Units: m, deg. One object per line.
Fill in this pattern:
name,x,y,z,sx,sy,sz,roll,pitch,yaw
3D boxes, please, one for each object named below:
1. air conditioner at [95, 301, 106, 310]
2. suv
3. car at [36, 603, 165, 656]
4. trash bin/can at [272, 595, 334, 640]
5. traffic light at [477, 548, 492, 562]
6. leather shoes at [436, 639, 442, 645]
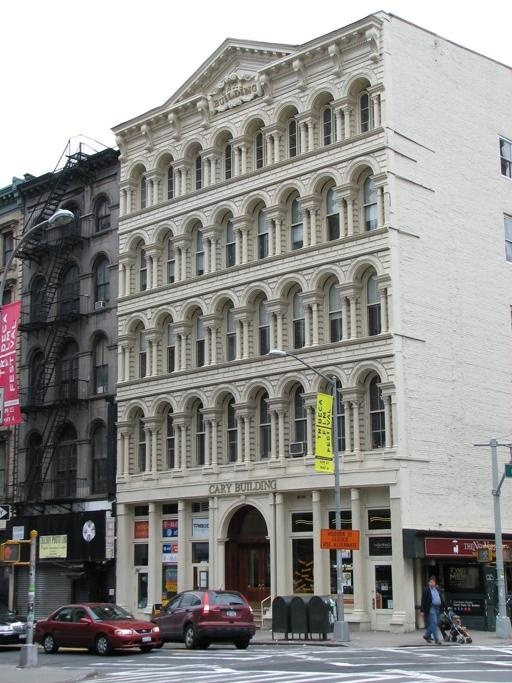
air conditioner,-6.805,-1.538,43.383,0.332,0.357,0.610,-2,-1,-25
suv,-1.402,7.154,25.587,1.371,1.099,2.759,12,-22,-29
car,-4.004,7.332,25.188,3.112,1.013,1.449,-22,-28,40
trash bin/can,1.234,7.429,26.785,1.822,1.146,0.553,-13,-20,34
traffic light,6.731,6.266,29.183,0.566,0.507,0.286,10,-16,-40
leather shoes,4.495,7.325,24.254,0.062,0.119,0.181,9,-29,-29
